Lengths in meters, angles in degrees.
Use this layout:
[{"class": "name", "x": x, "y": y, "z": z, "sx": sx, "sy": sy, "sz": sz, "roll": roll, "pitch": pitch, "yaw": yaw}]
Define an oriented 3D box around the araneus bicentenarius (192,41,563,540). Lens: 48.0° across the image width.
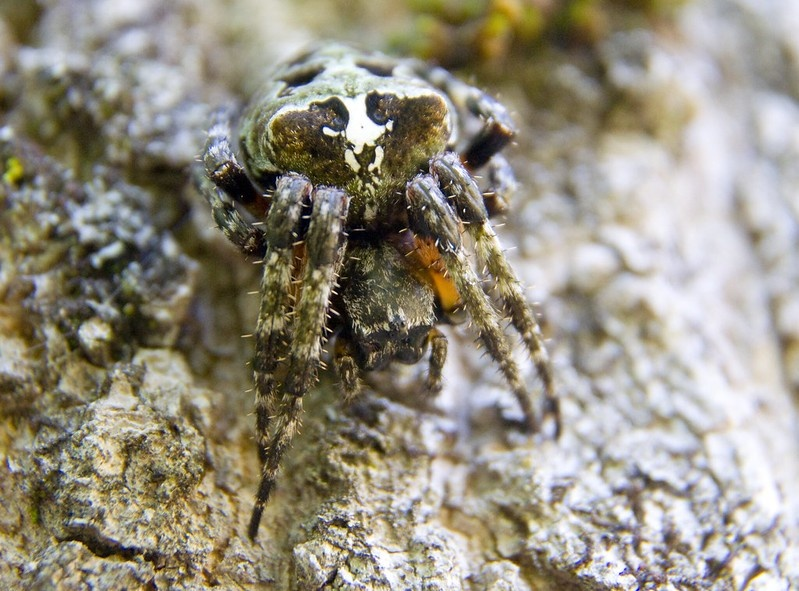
[{"class": "araneus bicentenarius", "x": -0.153, "y": -0.119, "z": 3.519, "sx": 1.211, "sy": 0.592, "sz": 2.129, "roll": -4, "pitch": 80, "yaw": -9}]
